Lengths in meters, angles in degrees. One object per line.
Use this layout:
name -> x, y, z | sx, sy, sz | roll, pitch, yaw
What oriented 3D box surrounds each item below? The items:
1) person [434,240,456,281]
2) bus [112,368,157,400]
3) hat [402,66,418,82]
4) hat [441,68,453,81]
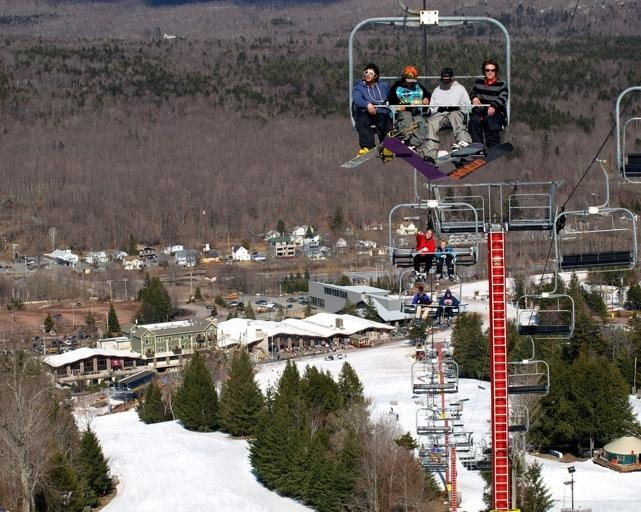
person -> 5.988, 0.111, 81.200 | 0.954, 1.810, 0.720 | -4, 12, 5
bus -> -11.534, 7.870, 104.489 | 1.287, 0.810, 2.484 | 4, 10, 19
hat -> 4.243, -8.691, 80.046 | 0.714, 0.693, 0.899 | -5, 13, 3
hat -> 6.027, -8.741, 80.306 | 0.589, 0.492, 0.906 | 2, 9, 8
